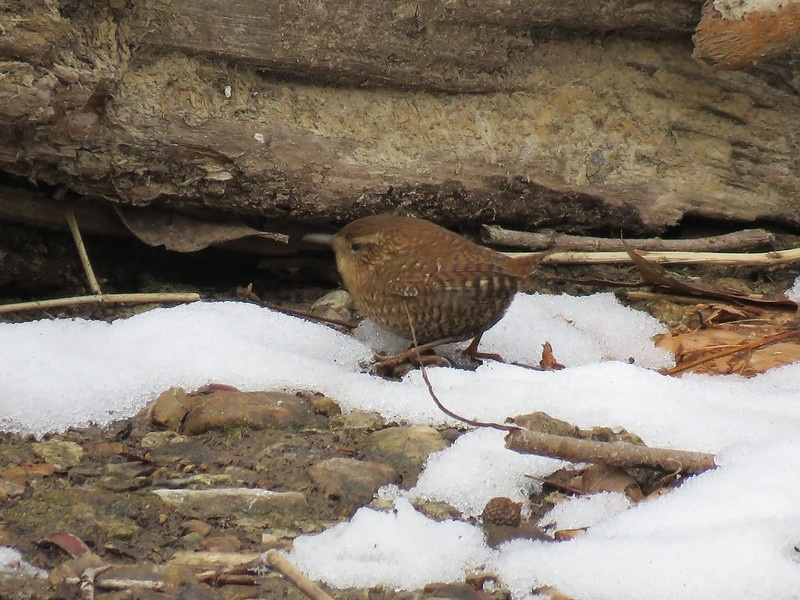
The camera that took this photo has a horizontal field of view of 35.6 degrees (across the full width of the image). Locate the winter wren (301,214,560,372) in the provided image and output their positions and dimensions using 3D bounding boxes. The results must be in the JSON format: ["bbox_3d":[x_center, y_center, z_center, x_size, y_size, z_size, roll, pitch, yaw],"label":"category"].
[{"bbox_3d":[0.136,-0.005,6.996,1.235,0.833,0.531,19,27,30],"label":"winter wren"}]
